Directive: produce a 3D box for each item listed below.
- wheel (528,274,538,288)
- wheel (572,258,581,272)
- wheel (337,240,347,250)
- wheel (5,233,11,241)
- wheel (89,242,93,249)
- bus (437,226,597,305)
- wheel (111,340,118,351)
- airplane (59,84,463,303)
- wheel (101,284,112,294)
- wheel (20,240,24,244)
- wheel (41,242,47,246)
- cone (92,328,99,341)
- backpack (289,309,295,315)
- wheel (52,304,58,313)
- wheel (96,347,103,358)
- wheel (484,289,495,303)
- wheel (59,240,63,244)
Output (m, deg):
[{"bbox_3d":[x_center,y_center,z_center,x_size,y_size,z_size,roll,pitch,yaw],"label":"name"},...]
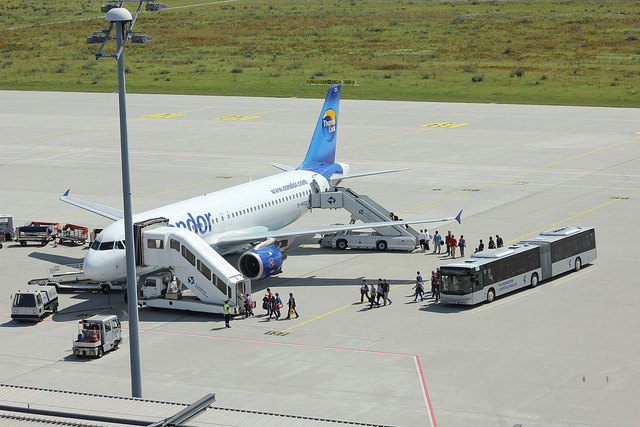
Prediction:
[{"bbox_3d":[20.218,6.453,118.728,0.610,1.324,1.616,3,1,18],"label":"wheel"},{"bbox_3d":[24.885,5.003,121.492,0.663,1.152,1.442,7,9,29],"label":"wheel"},{"bbox_3d":[2.234,3.217,129.061,1.372,0.961,0.406,1,10,5],"label":"wheel"},{"bbox_3d":[-33.223,2.520,132.010,0.339,0.844,0.473,0,7,17],"label":"wheel"},{"bbox_3d":[-23.288,3.276,125.974,1.078,0.177,0.897,0,7,-6],"label":"wheel"},{"bbox_3d":[19.261,4.667,120.979,4.460,4.045,21.373,8,15,44],"label":"bus"},{"bbox_3d":[-18.240,11.710,110.419,0.161,0.908,0.637,2,7,29],"label":"wheel"},{"bbox_3d":[-7.974,-0.164,124.564,33.770,9.266,30.474,9,17,33],"label":"airplane"},{"bbox_3d":[-20.591,7.279,119.452,1.293,0.854,0.580,1,-7,6],"label":"wheel"},{"bbox_3d":[-31.465,3.013,131.099,0.619,0.401,0.138,5,-2,-4],"label":"wheel"},{"bbox_3d":[-29.212,3.240,131.383,0.642,0.446,0.188,2,3,-4],"label":"wheel"},{"bbox_3d":[-19.763,10.772,109.101,0.233,0.822,0.559,3,8,37],"label":"cone"},{"bbox_3d":[-2.659,9.041,114.316,0.456,0.407,0.706,-1,-3,13],"label":"backpack"},{"bbox_3d":[-24.698,8.923,115.936,0.227,0.527,0.477,4,-2,32],"label":"wheel"},{"bbox_3d":[-19.432,12.241,109.326,0.225,0.892,0.726,2,7,31],"label":"wheel"},{"bbox_3d":[15.703,7.733,116.204,0.475,1.066,1.292,3,18,30],"label":"wheel"},{"bbox_3d":[-27.537,2.999,131.885,0.563,0.385,0.132,-2,-7,-22],"label":"wheel"}]
